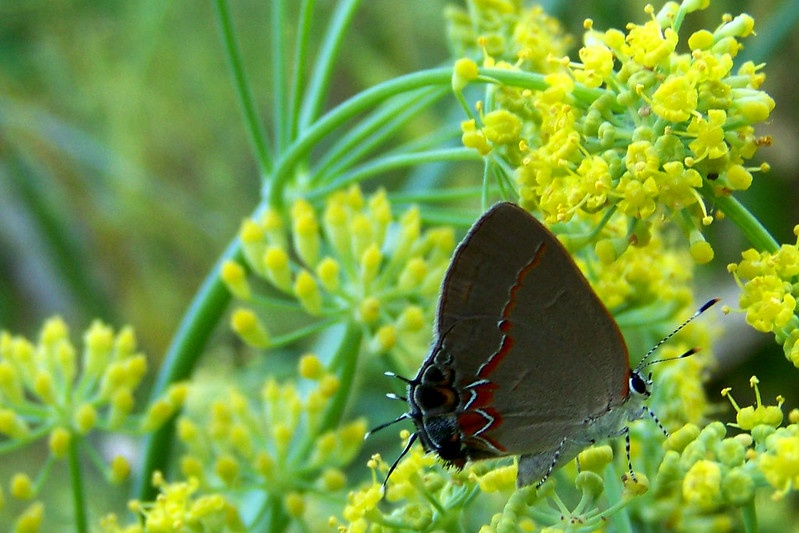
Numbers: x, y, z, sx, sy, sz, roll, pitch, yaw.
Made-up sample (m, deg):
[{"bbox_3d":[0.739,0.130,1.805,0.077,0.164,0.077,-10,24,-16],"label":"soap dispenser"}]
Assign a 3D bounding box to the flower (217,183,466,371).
[{"bbox_3d":[-0.116,0.030,2.010,0.448,0.210,0.471,-37,52,-25],"label":"flower"}]
